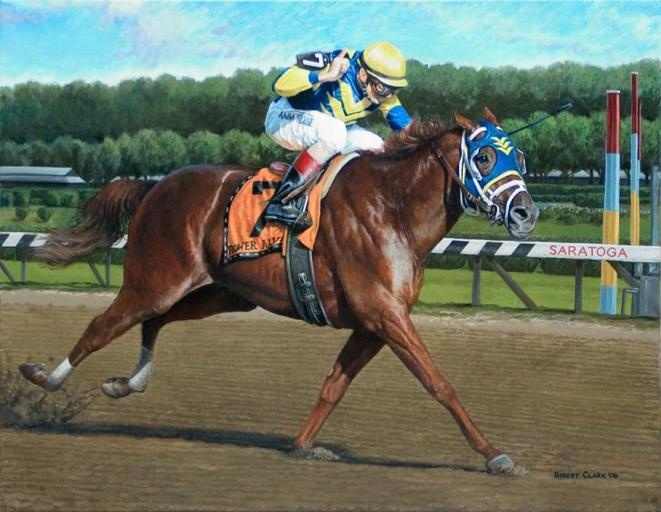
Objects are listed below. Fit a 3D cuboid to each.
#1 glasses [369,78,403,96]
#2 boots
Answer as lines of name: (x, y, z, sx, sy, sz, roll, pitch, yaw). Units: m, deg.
glasses: (0.380, -1.212, 9.156, 0.130, 0.058, 0.172, 3, 27, -28)
boots: (-0.259, -0.471, 8.955, 0.380, 0.501, 0.347, 3, 13, 13)
